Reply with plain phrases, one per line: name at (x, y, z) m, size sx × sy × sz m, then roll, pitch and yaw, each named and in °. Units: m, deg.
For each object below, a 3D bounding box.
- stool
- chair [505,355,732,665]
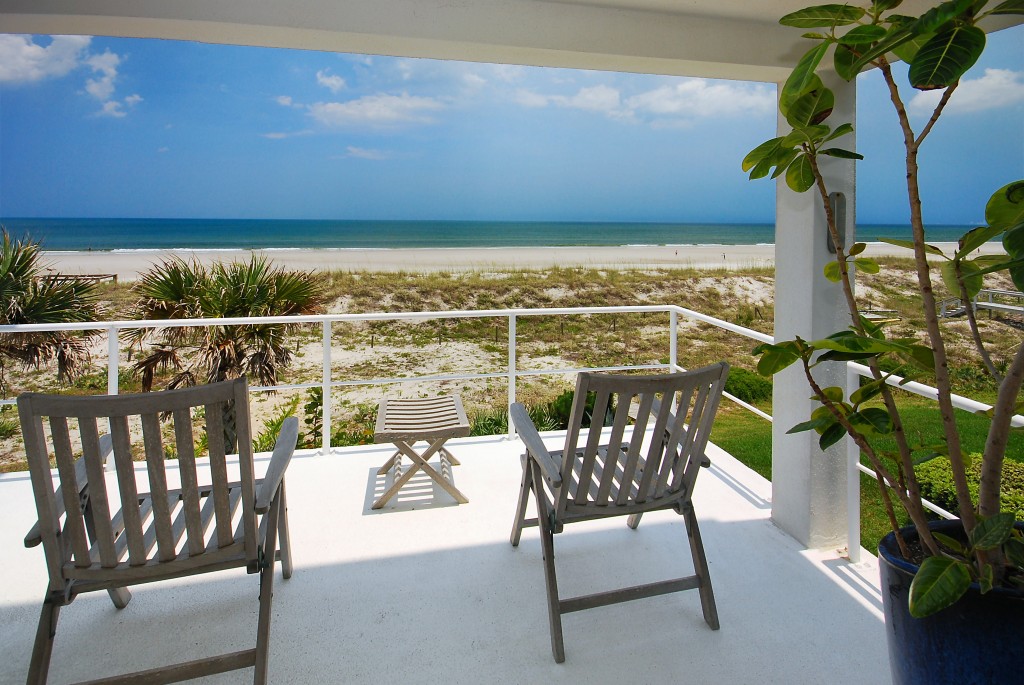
stool at (-0.565, 0.671, 4.127) m, size 0.582 × 0.504 × 0.584 m, roll -5°, pitch 12°, yaw -7°
chair at (0.439, 0.623, 3.212) m, size 0.870 × 1.308 × 0.965 m, roll -1°, pitch 16°, yaw -5°
